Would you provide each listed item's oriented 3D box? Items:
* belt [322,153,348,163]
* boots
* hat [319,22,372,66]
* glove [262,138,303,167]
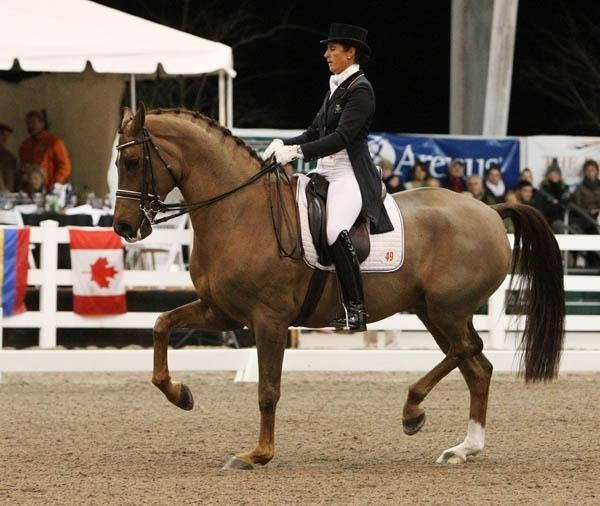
[{"bbox_3d":[0.330,-0.905,12.712,0.147,0.036,0.110,-15,-6,27],"label":"belt"},{"bbox_3d":[0.462,0.250,12.496,0.308,0.867,0.466,5,-12,26],"label":"boots"},{"bbox_3d":[0.445,-2.021,12.739,0.428,0.176,0.363,16,-6,-2],"label":"hat"},{"bbox_3d":[-0.151,-0.957,12.554,0.334,0.219,0.134,21,-9,26],"label":"glove"}]
